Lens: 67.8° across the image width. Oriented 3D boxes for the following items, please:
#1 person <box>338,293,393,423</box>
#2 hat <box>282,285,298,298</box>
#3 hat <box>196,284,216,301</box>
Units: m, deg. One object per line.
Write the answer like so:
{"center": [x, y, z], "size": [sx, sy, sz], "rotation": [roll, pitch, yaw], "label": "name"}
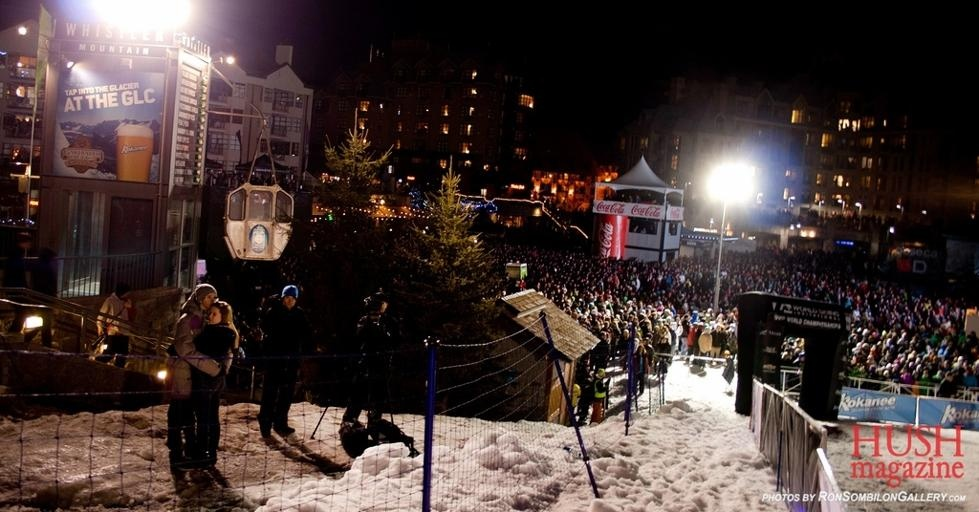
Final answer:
{"center": [-3.949, 3.383, 24.207], "size": [1.335, 3.723, 0.507], "rotation": [5, 1, -6], "label": "person"}
{"center": [-6.663, 1.151, 24.261], "size": [0.532, 0.403, 0.374], "rotation": [5, -7, 18], "label": "hat"}
{"center": [-8.891, 1.074, 22.705], "size": [0.604, 0.464, 0.444], "rotation": [-13, 18, -19], "label": "hat"}
